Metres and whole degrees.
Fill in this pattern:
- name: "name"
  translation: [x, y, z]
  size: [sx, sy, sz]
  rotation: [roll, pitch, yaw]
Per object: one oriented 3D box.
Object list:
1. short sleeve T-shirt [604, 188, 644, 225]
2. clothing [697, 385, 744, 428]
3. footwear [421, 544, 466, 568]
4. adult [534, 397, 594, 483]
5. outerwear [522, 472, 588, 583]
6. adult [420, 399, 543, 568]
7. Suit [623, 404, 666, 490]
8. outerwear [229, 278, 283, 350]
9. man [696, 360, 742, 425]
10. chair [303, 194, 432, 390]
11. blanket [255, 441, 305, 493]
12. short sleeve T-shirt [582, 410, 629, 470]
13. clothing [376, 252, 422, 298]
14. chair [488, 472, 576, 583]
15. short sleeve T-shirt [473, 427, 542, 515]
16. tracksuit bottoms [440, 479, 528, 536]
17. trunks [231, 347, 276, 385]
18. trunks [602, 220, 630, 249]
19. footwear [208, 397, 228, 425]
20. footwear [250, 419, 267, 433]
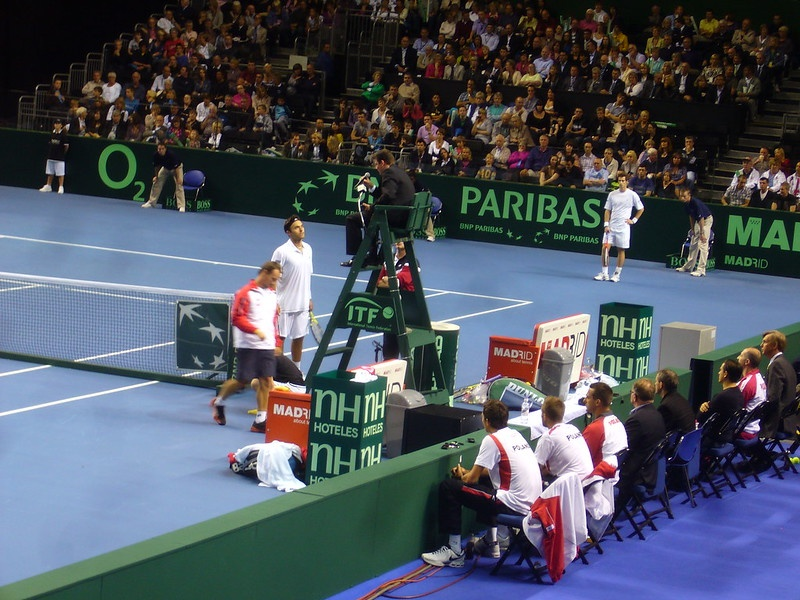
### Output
- name: "short sleeve T-shirt"
  translation: [5.054, -2.128, 22.722]
  size: [0.914, 1.008, 0.411]
  rotation: [13, 19, 18]
- name: "clothing"
  translation: [3.808, 1.252, 11.927]
  size: [0.502, 0.326, 0.350]
  rotation: [7, 4, 16]
- name: "footwear"
  translation: [0.421, 2.474, 9.832]
  size: [0.438, 0.229, 0.171]
  rotation: [4, 0, -2]
- name: "adult"
  translation: [1.618, 1.385, 10.322]
  size: [0.764, 0.844, 0.637]
  rotation: [1, 12, 27]
- name: "outerwear"
  translation: [1.483, 2.186, 9.715]
  size: [0.447, 1.047, 0.912]
  rotation: [-1, -8, 35]
- name: "adult"
  translation: [0.829, 1.799, 10.174]
  size: [1.184, 1.588, 1.050]
  rotation: [2, -1, 6]
- name: "Suit"
  translation: [2.615, 1.560, 10.868]
  size: [0.500, 0.891, 0.264]
  rotation: [4, 4, -14]
- name: "outerwear"
  translation: [-1.800, 0.181, 12.626]
  size: [0.470, 0.824, 0.714]
  rotation: [3, -1, 33]
- name: "man"
  translation: [3.861, 1.116, 12.089]
  size: [0.514, 0.848, 0.518]
  rotation: [3, 12, 36]
- name: "chair"
  translation: [-0.545, -0.210, 13.921]
  size: [1.693, 2.736, 1.679]
  rotation: [6, 17, -16]
- name: "blanket"
  translation: [-1.334, 1.811, 11.124]
  size: [0.540, 0.441, 0.552]
  rotation: [15, 11, 36]
- name: "short sleeve T-shirt"
  translation: [2.120, 1.470, 10.592]
  size: [0.372, 0.689, 0.596]
  rotation: [12, 20, 36]
- name: "clothing"
  translation: [-0.022, -0.366, 14.124]
  size: [0.407, 0.592, 0.457]
  rotation: [-25, 27, -38]
- name: "chair"
  translation: [1.418, 2.188, 9.959]
  size: [0.898, 1.062, 0.750]
  rotation: [1, 1, -43]
- name: "short sleeve T-shirt"
  translation: [1.062, 1.707, 9.962]
  size: [0.496, 0.885, 0.770]
  rotation: [-6, -12, 15]
- name: "tracksuit bottoms"
  translation: [0.824, 1.989, 10.331]
  size: [0.643, 0.595, 1.216]
  rotation: [-10, 4, 11]
- name: "trunks"
  translation: [-1.840, 0.794, 12.599]
  size: [0.638, 0.617, 0.370]
  rotation: [1, -2, -23]
- name: "trunks"
  translation: [4.808, -1.479, 22.370]
  size: [0.637, 0.660, 0.401]
  rotation: [8, -5, 42]
- name: "footwear"
  translation: [-2.280, 1.396, 12.737]
  size: [0.174, 0.429, 0.156]
  rotation: [-6, 7, 23]
- name: "footwear"
  translation: [-1.736, 1.556, 12.534]
  size: [0.261, 0.127, 0.105]
  rotation: [-6, 5, 5]
